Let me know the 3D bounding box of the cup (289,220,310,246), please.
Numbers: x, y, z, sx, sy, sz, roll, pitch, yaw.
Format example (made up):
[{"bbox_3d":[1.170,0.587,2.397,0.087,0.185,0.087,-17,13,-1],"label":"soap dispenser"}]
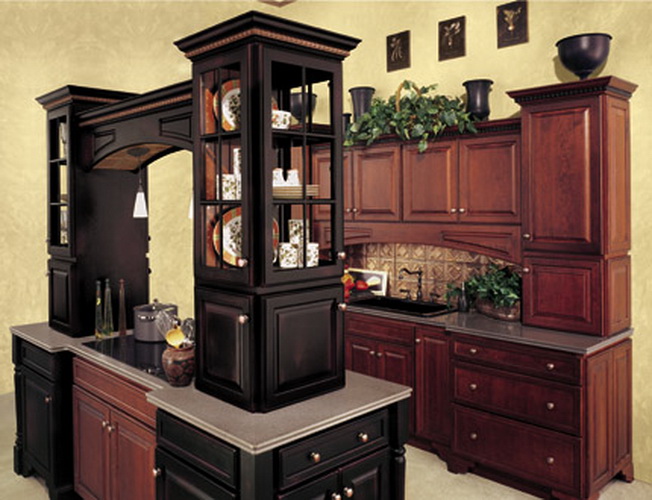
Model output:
[{"bbox_3d":[-0.153,-0.084,2.925,0.116,0.181,0.118,0,-4,0],"label":"cup"}]

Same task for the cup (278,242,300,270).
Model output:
[{"bbox_3d":[-0.201,0.032,2.886,0.113,0.121,0.103,0,9,3],"label":"cup"}]

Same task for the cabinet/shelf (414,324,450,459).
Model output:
[{"bbox_3d":[0.830,1.106,4.422,0.343,0.999,0.086,8,12,44],"label":"cabinet/shelf"}]

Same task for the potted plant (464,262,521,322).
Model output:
[{"bbox_3d":[1.268,0.318,4.377,0.409,0.482,0.394,-5,2,-38],"label":"potted plant"}]

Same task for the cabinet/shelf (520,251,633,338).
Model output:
[{"bbox_3d":[1.769,0.296,4.001,0.720,0.675,0.518,2,-3,44],"label":"cabinet/shelf"}]

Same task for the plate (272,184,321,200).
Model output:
[{"bbox_3d":[-0.149,-0.295,2.859,0.270,0.067,0.089,-7,11,-34],"label":"plate"}]

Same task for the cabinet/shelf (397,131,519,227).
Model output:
[{"bbox_3d":[1.082,-0.568,4.438,0.765,0.554,0.279,0,-1,43],"label":"cabinet/shelf"}]

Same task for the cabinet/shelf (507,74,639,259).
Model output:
[{"bbox_3d":[1.723,-0.567,3.935,0.849,1.207,0.413,2,9,18],"label":"cabinet/shelf"}]

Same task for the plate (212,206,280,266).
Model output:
[{"bbox_3d":[-0.503,-0.072,2.980,0.297,0.333,0.043,4,8,1],"label":"plate"}]

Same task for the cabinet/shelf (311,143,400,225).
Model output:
[{"bbox_3d":[0.287,-0.547,4.571,0.757,0.715,0.293,2,4,41],"label":"cabinet/shelf"}]

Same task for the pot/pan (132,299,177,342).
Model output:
[{"bbox_3d":[-1.168,0.501,3.887,0.281,0.224,0.287,-1,-2,41],"label":"pot/pan"}]
